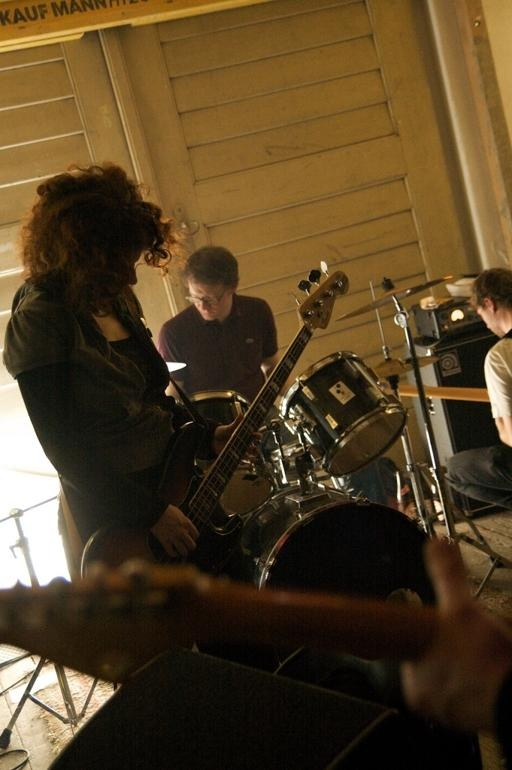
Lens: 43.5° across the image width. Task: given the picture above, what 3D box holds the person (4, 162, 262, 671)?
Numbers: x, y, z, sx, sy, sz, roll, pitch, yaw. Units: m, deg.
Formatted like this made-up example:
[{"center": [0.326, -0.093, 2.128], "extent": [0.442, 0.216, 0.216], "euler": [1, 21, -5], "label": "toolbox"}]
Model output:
[{"center": [-0.337, -0.052, 1.489], "extent": [0.349, 0.924, 0.508], "euler": [-9, 10, 0], "label": "person"}]

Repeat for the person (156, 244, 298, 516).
[{"center": [-0.180, -0.162, 3.313], "extent": [0.741, 0.892, 0.969], "euler": [-5, -8, 2], "label": "person"}]

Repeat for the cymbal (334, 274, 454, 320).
[{"center": [0.731, -0.473, 3.508], "extent": [0.386, 0.076, 0.354], "euler": [-22, -6, -32], "label": "cymbal"}]

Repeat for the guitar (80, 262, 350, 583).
[{"center": [-0.097, 0.102, 1.937], "extent": [0.211, 0.425, 1.407], "euler": [-6, 39, 37], "label": "guitar"}]
